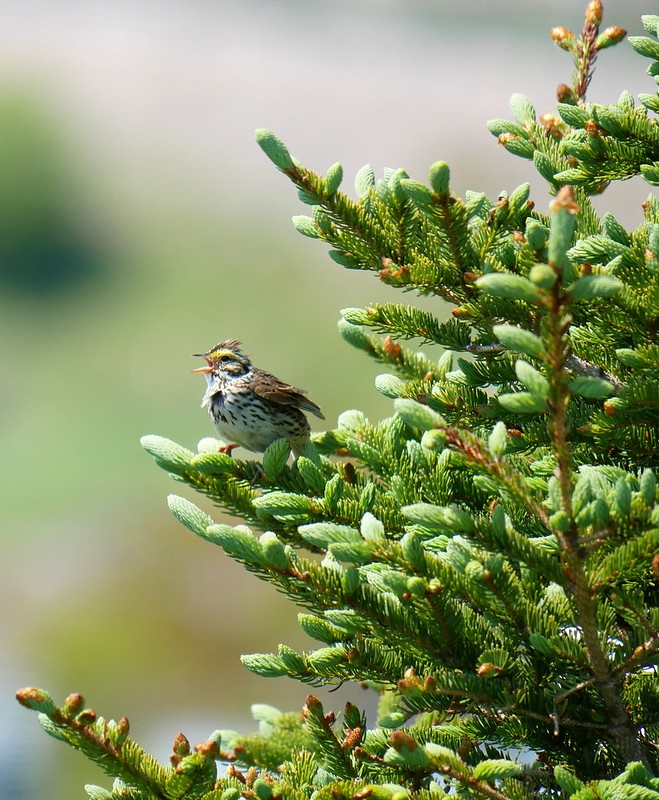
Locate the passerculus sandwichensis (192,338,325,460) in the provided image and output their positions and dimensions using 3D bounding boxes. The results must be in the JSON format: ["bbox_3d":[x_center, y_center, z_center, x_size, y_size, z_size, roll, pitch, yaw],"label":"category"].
[{"bbox_3d":[-0.262,-0.023,5.487,0.502,0.475,0.339,8,-10,-44],"label":"passerculus sandwichensis"}]
